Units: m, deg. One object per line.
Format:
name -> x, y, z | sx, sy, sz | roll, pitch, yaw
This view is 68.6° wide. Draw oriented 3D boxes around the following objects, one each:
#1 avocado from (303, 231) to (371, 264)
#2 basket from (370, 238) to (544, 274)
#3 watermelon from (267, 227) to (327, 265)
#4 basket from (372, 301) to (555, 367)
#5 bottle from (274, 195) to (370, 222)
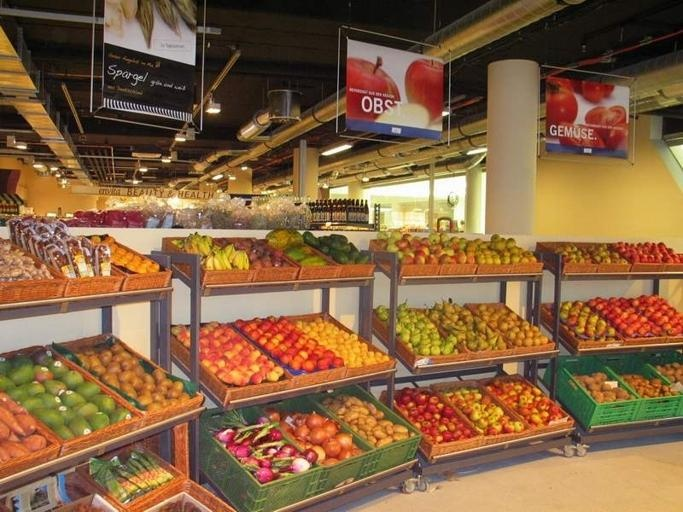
avocado -> -0.073, -0.082, 4.571 | 0.363, 0.250, 0.679 | -6, 9, -42
basket -> 1.135, -0.034, 5.103 | 1.719, 0.381, 0.690 | 1, 4, -23
watermelon -> -0.405, -0.060, 4.395 | 0.507, 0.183, 0.286 | 31, 21, 3
basket -> 1.156, 0.667, 5.282 | 1.756, 0.552, 0.788 | -1, 6, -25
bottle -> -0.193, -0.705, 7.231 | 1.405, 0.382, 0.399 | -2, 6, -26
